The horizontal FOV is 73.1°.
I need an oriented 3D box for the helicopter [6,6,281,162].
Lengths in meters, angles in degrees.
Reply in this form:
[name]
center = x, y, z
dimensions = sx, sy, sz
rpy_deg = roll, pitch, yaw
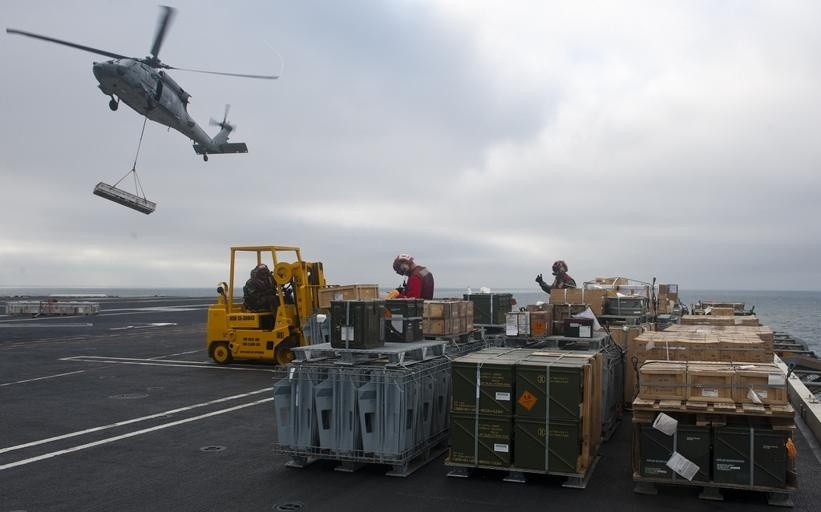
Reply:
[helicopter]
center = -18.316, -12.709, 44.479
dimensions = 6.169, 6.633, 28.358
rpy_deg = 0, 0, -7

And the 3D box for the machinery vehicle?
[machinery vehicle]
center = -5.451, 1.952, 23.165
dimensions = 6.171, 4.366, 2.573
rpy_deg = -4, 1, 14
